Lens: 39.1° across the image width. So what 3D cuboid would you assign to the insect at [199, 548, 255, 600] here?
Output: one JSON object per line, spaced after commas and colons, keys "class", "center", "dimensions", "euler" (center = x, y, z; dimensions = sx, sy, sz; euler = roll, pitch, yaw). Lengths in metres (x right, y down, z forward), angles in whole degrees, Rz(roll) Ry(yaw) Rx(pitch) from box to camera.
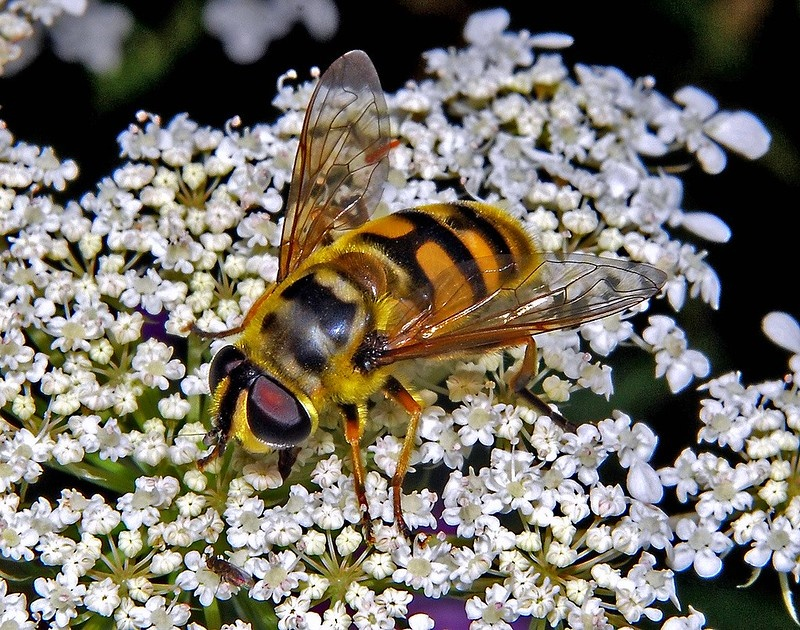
{"class": "insect", "center": [-0.398, 0.603, 2.629], "dimensions": [0.093, 0.030, 0.090], "euler": [30, 43, -3]}
